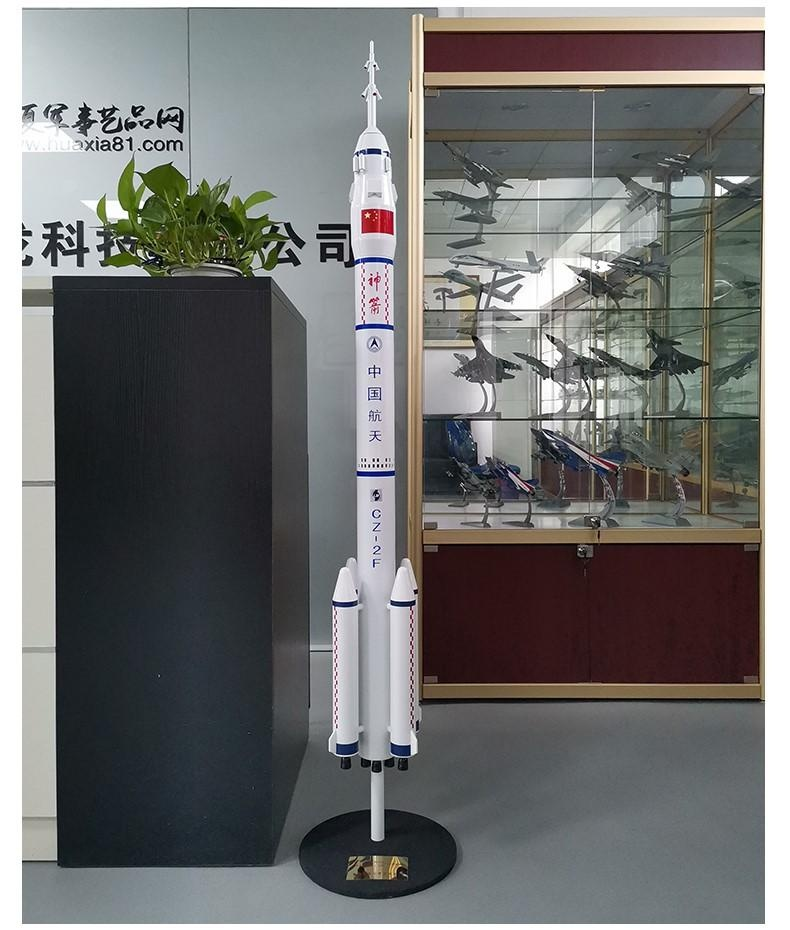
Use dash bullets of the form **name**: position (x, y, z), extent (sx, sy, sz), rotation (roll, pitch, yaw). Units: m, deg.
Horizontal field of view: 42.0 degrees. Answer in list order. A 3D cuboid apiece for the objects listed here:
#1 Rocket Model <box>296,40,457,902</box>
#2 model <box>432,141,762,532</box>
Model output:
- **Rocket Model**: position (-0.031, -0.007, 2.912), extent (0.462, 2.265, 0.701), rotation (2, 13, 7)
- **model**: position (0.731, -0.547, 3.944), extent (1.236, 1.695, 0.509), rotation (1, 1, -4)
